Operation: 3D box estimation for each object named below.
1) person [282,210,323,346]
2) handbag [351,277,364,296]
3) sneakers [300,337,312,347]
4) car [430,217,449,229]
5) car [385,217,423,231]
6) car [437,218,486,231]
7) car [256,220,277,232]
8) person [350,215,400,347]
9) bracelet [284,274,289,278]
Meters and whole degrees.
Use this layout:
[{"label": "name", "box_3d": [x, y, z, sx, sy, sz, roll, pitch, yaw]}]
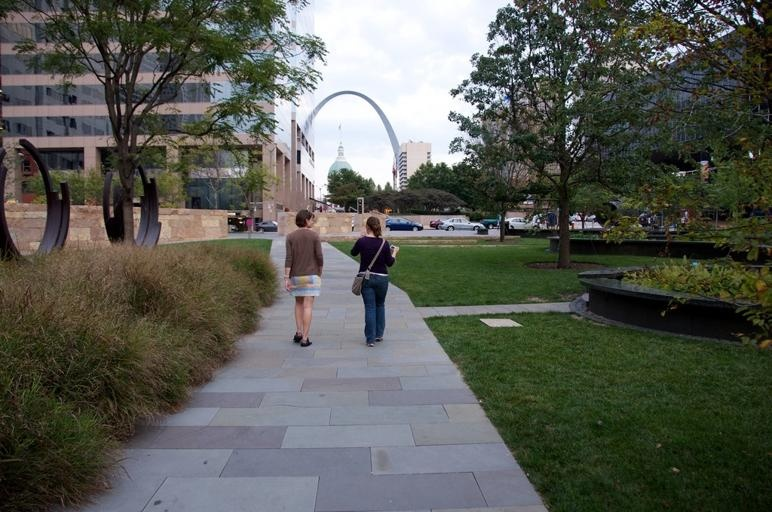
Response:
[{"label": "person", "box_3d": [-1.463, 0.377, 10.303, 0.611, 2.389, 0.612, 2, 7, 4]}, {"label": "handbag", "box_3d": [-0.497, 0.526, 10.327, 0.162, 0.366, 0.318, 0, 7, -8]}, {"label": "sneakers", "box_3d": [-1.423, 1.518, 10.259, 0.201, 0.136, 0.225, 0, 7, -9]}, {"label": "car", "box_3d": [6.177, -3.870, 67.721, 1.238, 0.611, 2.032, 0, -1, 31]}, {"label": "car", "box_3d": [1.865, -3.262, 59.896, 3.455, 1.175, 1.654, -2, 6, 1]}, {"label": "car", "box_3d": [7.623, -3.244, 59.323, 3.277, 1.150, 5.752, 1, 7, -4]}, {"label": "car", "box_3d": [-11.986, -2.982, 58.205, 2.100, 0.843, 1.216, -2, 9, 2]}, {"label": "person", "box_3d": [-0.226, 0.418, 10.559, 0.785, 2.285, 0.975, 1, 7, -1]}, {"label": "bracelet", "box_3d": [-1.753, 0.354, 10.183, 0.066, 0.062, 0.065, 5, -5, -42]}]
